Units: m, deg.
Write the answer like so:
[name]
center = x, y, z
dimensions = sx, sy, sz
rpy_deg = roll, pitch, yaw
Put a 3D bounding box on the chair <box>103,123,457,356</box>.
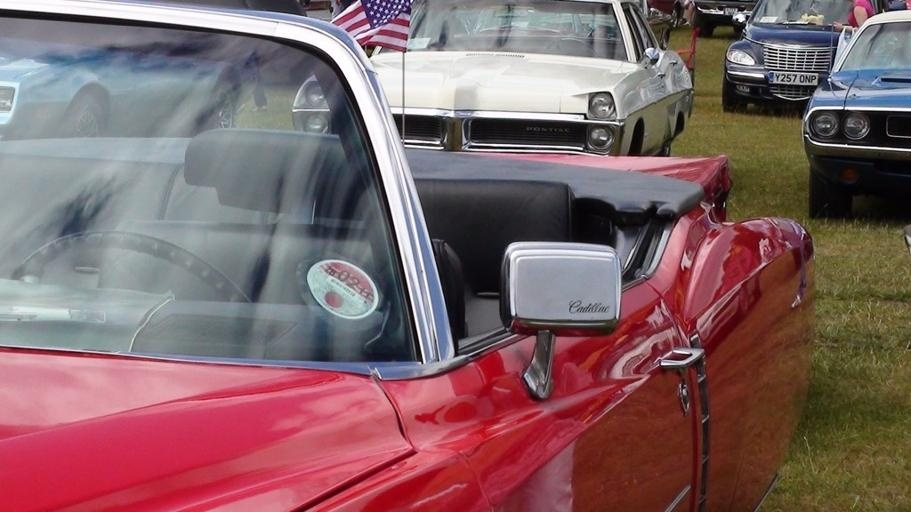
[chair]
center = -0.403, -0.006, 1.717
dimensions = 0.622, 0.519, 0.603
rpy_deg = 2, 1, 10
